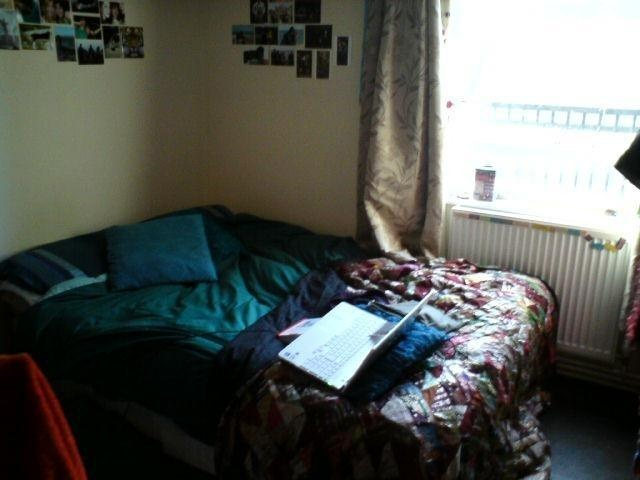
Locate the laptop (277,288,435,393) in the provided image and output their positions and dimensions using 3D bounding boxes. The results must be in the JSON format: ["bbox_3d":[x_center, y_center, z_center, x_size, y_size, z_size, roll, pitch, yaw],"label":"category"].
[{"bbox_3d":[0.131,0.350,1.987,0.416,0.245,0.486,18,23,31],"label":"laptop"}]
